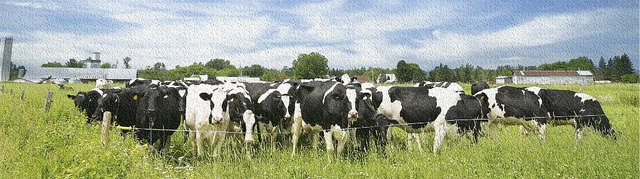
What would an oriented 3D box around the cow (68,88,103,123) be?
[{"bbox_3d":[-58.848,2.952,96.124,4.880,4.744,12.476,11,3,-27],"label":"cow"}]
